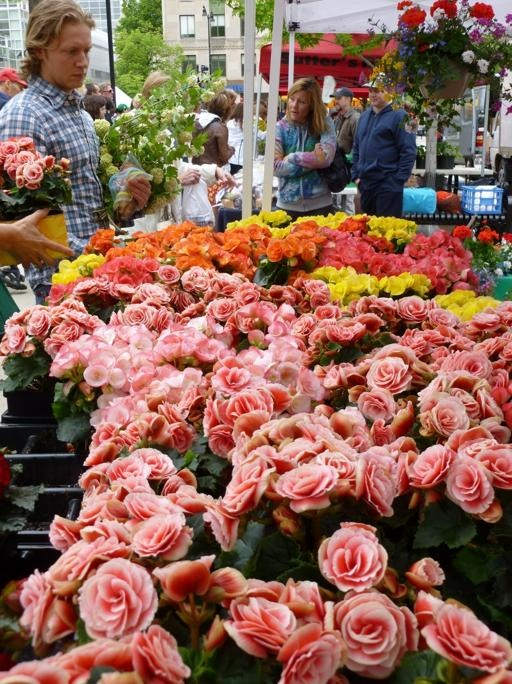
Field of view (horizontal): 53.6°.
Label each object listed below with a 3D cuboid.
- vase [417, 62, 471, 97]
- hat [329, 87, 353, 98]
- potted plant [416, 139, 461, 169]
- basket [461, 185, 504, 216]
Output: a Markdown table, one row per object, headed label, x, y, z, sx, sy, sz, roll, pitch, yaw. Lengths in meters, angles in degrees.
| label | x | y | z | sx | sy | sz | roll | pitch | yaw |
| --- | --- | --- | --- | --- | --- | --- | --- | --- | --- |
| vase | 1.479 | -2.078 | 4.069 | 0.317 | 0.188 | 0.313 | -18 | 25 | -32 |
| hat | 1.321 | -3.845 | 7.862 | 0.273 | 0.138 | 0.178 | 8 | 54 | -10 |
| potted plant | 3.012 | -3.175 | 8.511 | 0.628 | 0.566 | 1.138 | 5 | 15 | 19 |
| basket | 2.104 | -1.311 | 4.803 | 0.394 | 0.255 | 0.387 | 0 | 23 | -2 |
